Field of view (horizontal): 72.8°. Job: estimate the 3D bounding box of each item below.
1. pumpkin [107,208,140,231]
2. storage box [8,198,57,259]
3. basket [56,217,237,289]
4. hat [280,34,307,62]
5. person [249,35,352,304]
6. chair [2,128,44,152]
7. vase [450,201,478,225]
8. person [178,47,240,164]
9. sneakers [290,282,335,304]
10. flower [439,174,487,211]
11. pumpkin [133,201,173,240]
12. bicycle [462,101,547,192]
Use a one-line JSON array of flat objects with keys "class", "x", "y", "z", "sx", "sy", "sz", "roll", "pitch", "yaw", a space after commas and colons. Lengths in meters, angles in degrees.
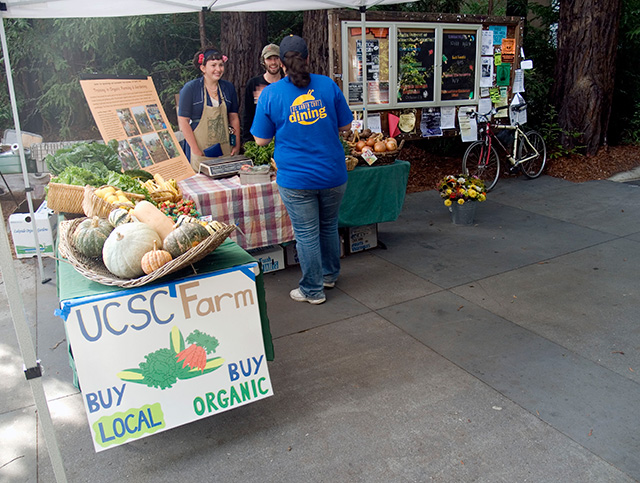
[{"class": "pumpkin", "x": -1.100, "y": -0.125, "z": 2.498, "sx": 0.136, "sy": 0.137, "sz": 0.173, "roll": -7, "pitch": -1, "yaw": 29}, {"class": "storage box", "x": -3.281, "y": -0.129, "z": 4.968, "sx": 0.371, "sy": 0.648, "sz": 0.431, "roll": -7, "pitch": 63, "yaw": -13}, {"class": "basket", "x": -0.955, "y": 0.109, "z": 2.260, "sx": 0.623, "sy": 0.187, "sz": 0.518, "roll": -12, "pitch": 27, "yaw": -5}, {"class": "hat", "x": -0.227, "y": -1.614, "z": 3.598, "sx": 0.224, "sy": 0.186, "sz": 0.253, "roll": -6, "pitch": 20, "yaw": -3}, {"class": "person", "x": -0.108, "y": -0.555, "z": 3.931, "sx": 0.858, "sy": 2.375, "sz": 0.386, "roll": -9, "pitch": 21, "yaw": -10}, {"class": "chair", "x": -5.577, "y": -1.939, "z": 8.118, "sx": 0.539, "sy": 0.328, "sz": 1.094, "roll": -21, "pitch": 26, "yaw": -38}, {"class": "vase", "x": 2.077, "y": -0.415, "z": 6.231, "sx": 0.335, "sy": 0.281, "sz": 0.380, "roll": -1, "pitch": 8, "yaw": 7}, {"class": "person", "x": -1.362, "y": -1.604, "z": 5.271, "sx": 0.698, "sy": 1.358, "sz": 0.593, "roll": -8, "pitch": 20, "yaw": -8}, {"class": "sneakers", "x": -0.104, "y": 0.545, "z": 4.371, "sx": 0.474, "sy": 0.217, "sz": 0.188, "roll": 8, "pitch": 25, "yaw": 19}, {"class": "flower", "x": 1.969, "y": -0.667, "z": 6.010, "sx": 0.506, "sy": 0.355, "sz": 0.498, "roll": 0, "pitch": 4, "yaw": -20}, {"class": "pumpkin", "x": -0.944, "y": -0.114, "z": 2.431, "sx": 0.260, "sy": 0.110, "sz": 0.111, "roll": 42, "pitch": 42, "yaw": 7}, {"class": "bicycle", "x": 3.382, "y": -1.934, "z": 8.674, "sx": 2.466, "sy": 1.554, "sz": 1.196, "roll": -17, "pitch": 21, "yaw": -25}]
